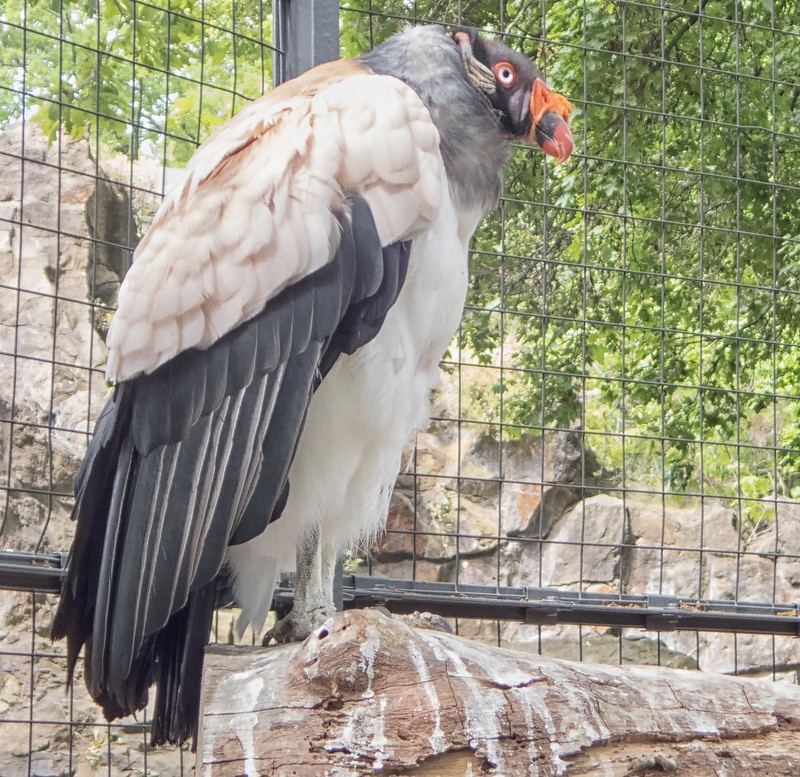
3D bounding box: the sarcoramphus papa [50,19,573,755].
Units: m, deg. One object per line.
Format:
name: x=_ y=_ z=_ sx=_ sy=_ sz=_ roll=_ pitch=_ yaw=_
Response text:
sarcoramphus papa: x=-0.416 y=0.000 z=12.322 sx=2.610 sy=3.818 sz=1.939 roll=-4 pitch=-15 yaw=2
